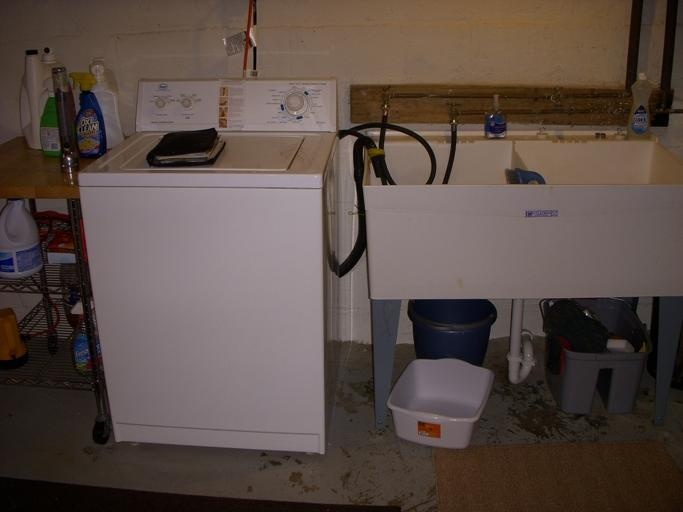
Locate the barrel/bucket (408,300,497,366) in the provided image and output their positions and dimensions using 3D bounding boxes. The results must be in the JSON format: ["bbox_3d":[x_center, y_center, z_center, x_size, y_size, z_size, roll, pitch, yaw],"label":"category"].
[{"bbox_3d":[0.487,0.307,2.443,0.314,0.256,0.317,-1,20,0],"label":"barrel/bucket"}]

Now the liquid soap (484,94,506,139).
[{"bbox_3d":[0.689,-0.624,2.494,0.099,0.187,0.085,3,18,11],"label":"liquid soap"}]

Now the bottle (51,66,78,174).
[{"bbox_3d":[-1.020,-0.501,2.072,0.065,0.370,0.295,-8,19,-23],"label":"bottle"}]

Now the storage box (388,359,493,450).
[{"bbox_3d":[0.408,0.604,2.329,0.394,0.266,0.352,6,19,18],"label":"storage box"}]

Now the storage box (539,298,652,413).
[{"bbox_3d":[1.114,0.373,2.552,0.401,0.380,0.522,0,17,6],"label":"storage box"}]

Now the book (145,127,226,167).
[{"bbox_3d":[-0.562,-0.400,2.050,0.263,0.097,0.299,-3,19,-9],"label":"book"}]

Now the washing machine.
[{"bbox_3d":[-0.456,0.009,2.225,0.839,1.346,0.574,1,17,5],"label":"washing machine"}]

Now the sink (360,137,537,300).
[{"bbox_3d":[0.405,-0.127,2.286,0.652,0.431,0.707,0,33,4],"label":"sink"}]

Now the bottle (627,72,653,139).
[{"bbox_3d":[1.291,-0.645,2.422,0.087,0.229,0.093,0,17,0],"label":"bottle"}]
